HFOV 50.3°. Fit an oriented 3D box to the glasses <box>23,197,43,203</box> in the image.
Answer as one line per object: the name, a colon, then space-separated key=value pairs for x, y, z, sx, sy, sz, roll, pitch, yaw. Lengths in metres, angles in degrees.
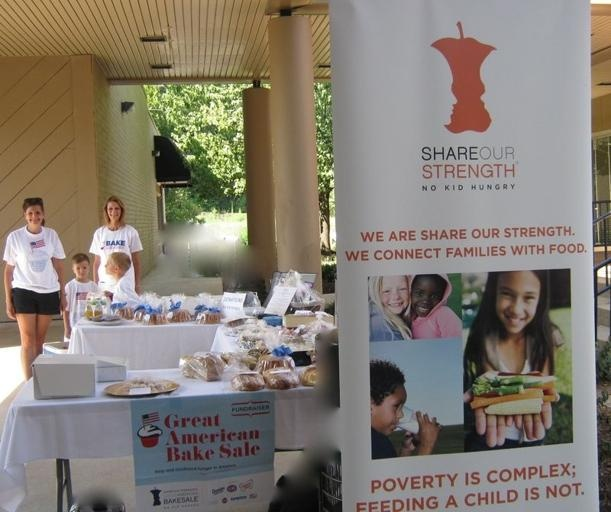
glasses: x=-2.490 y=-0.499 z=5.951 sx=0.135 sy=0.058 sz=0.085 roll=-3 pitch=-1 yaw=-36

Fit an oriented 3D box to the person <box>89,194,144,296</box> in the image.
person: x=-1.808 y=0.053 z=6.216 sx=0.472 sy=1.201 sz=0.297 roll=-1 pitch=12 yaw=-11

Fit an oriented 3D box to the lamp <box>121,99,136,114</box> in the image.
lamp: x=-3.516 y=-2.949 z=12.838 sx=0.226 sy=0.332 sz=0.491 roll=-3 pitch=-1 yaw=-11
